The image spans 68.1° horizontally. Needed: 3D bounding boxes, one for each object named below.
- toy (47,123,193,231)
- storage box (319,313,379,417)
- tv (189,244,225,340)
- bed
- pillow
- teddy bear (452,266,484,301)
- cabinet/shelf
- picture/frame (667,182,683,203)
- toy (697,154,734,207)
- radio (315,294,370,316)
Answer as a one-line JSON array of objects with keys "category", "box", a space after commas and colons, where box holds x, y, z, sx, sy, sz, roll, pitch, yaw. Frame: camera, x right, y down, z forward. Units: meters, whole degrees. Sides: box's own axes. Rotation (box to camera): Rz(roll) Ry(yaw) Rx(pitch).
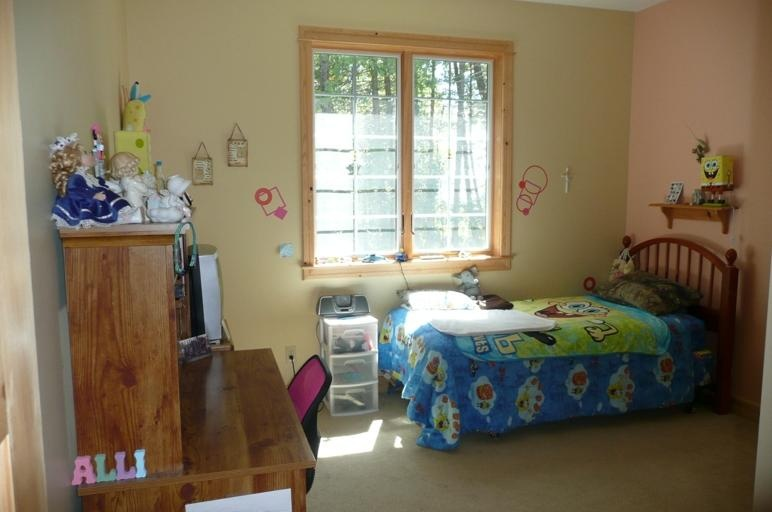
[{"category": "toy", "box": [-1.107, -0.251, 2.321, 0.590, 0.417, 0.349, -6, 12, -28]}, {"category": "storage box", "box": [-0.332, 0.930, 4.885, 0.436, 0.749, 0.501, -1, 1, -22]}, {"category": "tv", "box": [-1.078, 0.233, 3.395, 0.211, 0.614, 0.441, -2, 17, -12]}, {"category": "bed", "box": [1.386, 0.713, 4.879, 2.349, 1.290, 1.552, -5, 12, -12]}, {"category": "pillow", "box": [2.213, 0.312, 4.914, 0.409, 0.144, 0.483, -14, 12, -18]}, {"category": "teddy bear", "box": [0.749, 0.253, 5.211, 0.257, 0.282, 0.097, -3, -6, -14]}, {"category": "cabinet/shelf", "box": [-1.080, 0.386, 2.325, 0.426, 1.029, 1.036, -3, 7, -17]}, {"category": "picture/frame", "box": [2.558, -0.554, 5.060, 0.037, 0.160, 0.153, 12, 5, -33]}, {"category": "toy", "box": [2.716, -0.618, 4.699, 0.253, 0.385, 0.142, 8, 16, 31]}, {"category": "radio", "box": [-0.368, 0.431, 4.822, 0.433, 0.154, 0.173, -2, 14, -7]}]
